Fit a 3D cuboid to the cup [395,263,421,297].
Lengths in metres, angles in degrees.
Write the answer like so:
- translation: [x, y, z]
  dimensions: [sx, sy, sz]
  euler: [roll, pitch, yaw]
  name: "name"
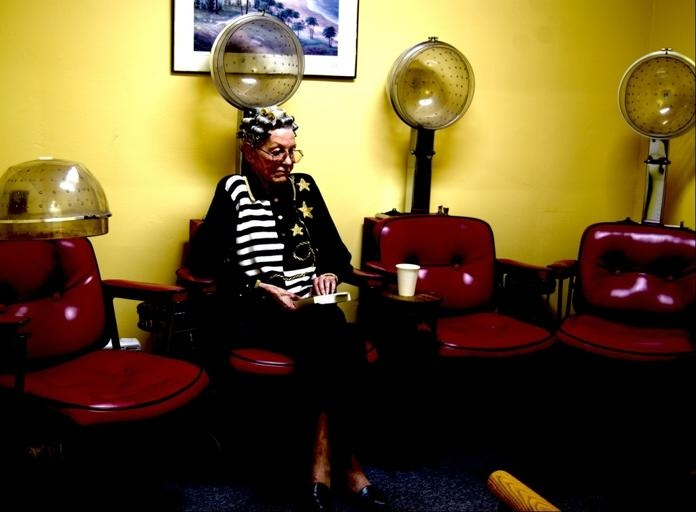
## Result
- translation: [0.262, 0.107, 2.581]
  dimensions: [0.123, 0.130, 0.123]
  euler: [1, -8, 0]
  name: "cup"
